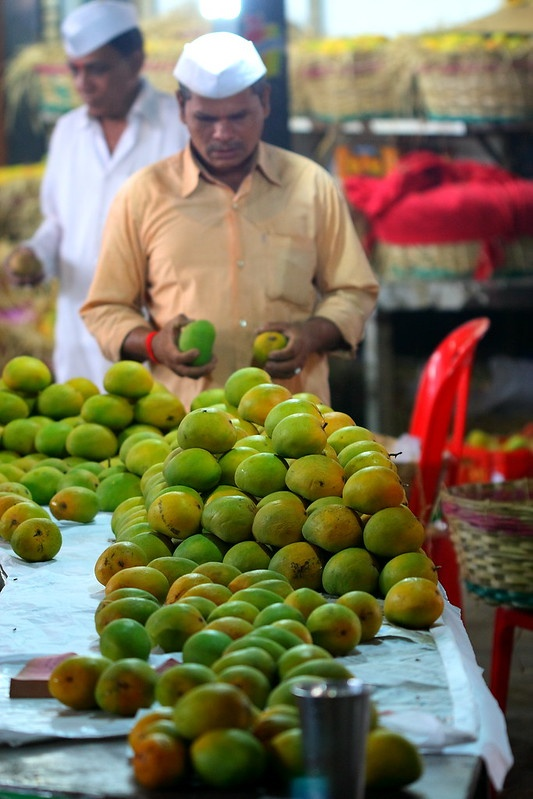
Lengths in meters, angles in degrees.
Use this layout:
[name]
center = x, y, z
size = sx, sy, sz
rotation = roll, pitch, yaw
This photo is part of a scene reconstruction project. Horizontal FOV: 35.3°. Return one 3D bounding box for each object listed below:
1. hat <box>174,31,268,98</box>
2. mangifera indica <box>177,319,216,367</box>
[hat]
center = -0.149, -1.075, 2.706
size = 0.275, 0.209, 0.280
rotation = -8, 20, -14
[mangifera indica]
center = -0.198, -0.167, 2.478
size = 0.111, 0.131, 0.079
rotation = -1, -17, -28
